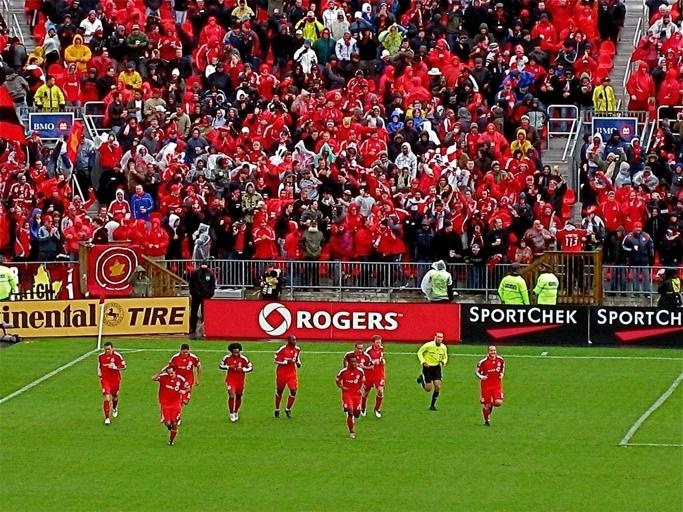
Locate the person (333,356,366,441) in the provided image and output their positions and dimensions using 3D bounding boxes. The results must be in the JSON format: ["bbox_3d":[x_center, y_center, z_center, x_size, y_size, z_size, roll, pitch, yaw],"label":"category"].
[{"bbox_3d":[0.283,3.635,39.145,0.763,2.070,0.689,-1,8,-4],"label":"person"}]

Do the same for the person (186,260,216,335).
[{"bbox_3d":[-4.359,1.324,47.315,0.750,2.465,1.179,-1,4,-26],"label":"person"}]

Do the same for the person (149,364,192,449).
[{"bbox_3d":[-4.229,3.787,37.953,1.022,2.054,0.806,2,1,-17],"label":"person"}]

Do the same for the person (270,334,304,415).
[{"bbox_3d":[-1.385,3.223,40.331,0.944,2.170,0.759,-1,-5,44],"label":"person"}]

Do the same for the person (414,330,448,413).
[{"bbox_3d":[2.493,3.131,41.318,1.184,2.219,0.900,5,4,40],"label":"person"}]

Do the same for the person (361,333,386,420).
[{"bbox_3d":[0.904,3.258,40.547,0.617,2.172,0.508,-5,11,-22],"label":"person"}]
